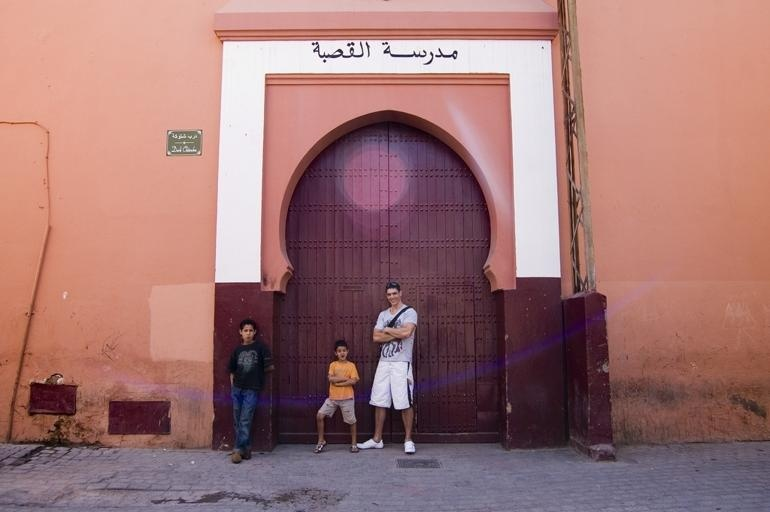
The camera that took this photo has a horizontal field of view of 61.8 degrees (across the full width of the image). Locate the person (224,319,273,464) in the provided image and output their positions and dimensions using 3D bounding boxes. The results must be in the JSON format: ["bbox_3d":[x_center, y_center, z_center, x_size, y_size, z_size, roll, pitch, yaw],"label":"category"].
[{"bbox_3d":[-1.763,1.611,7.975,0.505,1.598,0.692,6,12,37],"label":"person"}]

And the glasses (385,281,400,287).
[{"bbox_3d":[0.084,0.351,8.151,0.087,0.067,0.088,4,-10,-19],"label":"glasses"}]

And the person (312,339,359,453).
[{"bbox_3d":[-0.624,1.742,8.232,0.583,1.374,0.682,-1,9,-3],"label":"person"}]

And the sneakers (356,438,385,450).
[{"bbox_3d":[-0.190,2.387,8.214,0.333,0.139,0.125,3,-19,-2],"label":"sneakers"}]

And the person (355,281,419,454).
[{"bbox_3d":[0.063,1.393,8.127,0.622,2.098,0.689,0,9,2],"label":"person"}]
